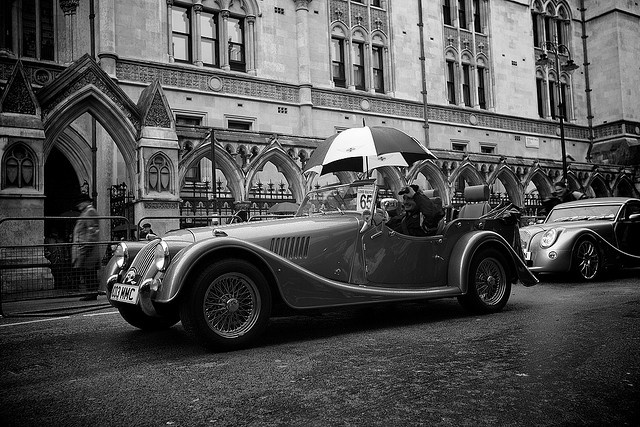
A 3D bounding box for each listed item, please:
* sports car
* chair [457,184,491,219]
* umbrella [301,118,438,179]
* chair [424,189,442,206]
[{"bbox_3d":[0.301,1.045,10.421,7.068,2.835,3.194,3,-12,-31],"label":"sports car"},{"bbox_3d":[3.179,-0.214,11.383,0.520,0.892,0.673,-2,-4,26],"label":"chair"},{"bbox_3d":[1.073,-1.426,12.661,2.524,1.039,1.939,0,6,13],"label":"umbrella"},{"bbox_3d":[2.352,-0.341,11.629,0.309,0.327,0.327,-4,-10,31],"label":"chair"}]
